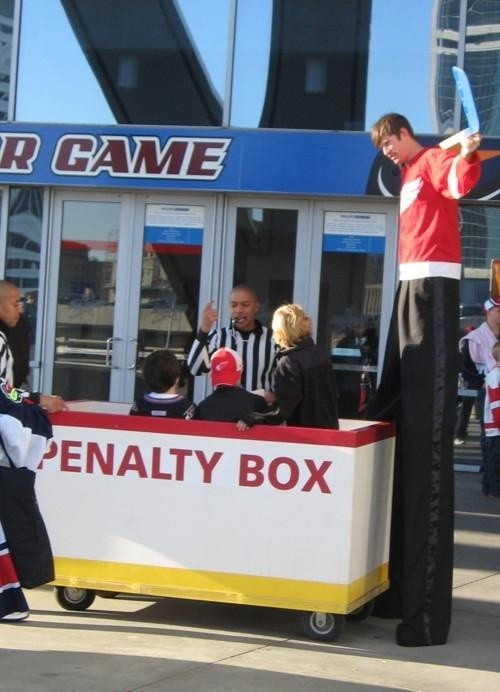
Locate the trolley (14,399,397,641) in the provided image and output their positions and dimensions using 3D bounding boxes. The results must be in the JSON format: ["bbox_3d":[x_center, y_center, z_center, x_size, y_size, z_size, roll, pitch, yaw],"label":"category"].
[{"bbox_3d":[-0.163,0.818,4.378,1.605,0.861,0.553,-1,-4,30],"label":"trolley"}]

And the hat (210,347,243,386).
[{"bbox_3d":[-0.120,0.105,4.356,0.124,0.183,0.100,2,-45,3],"label":"hat"}]
